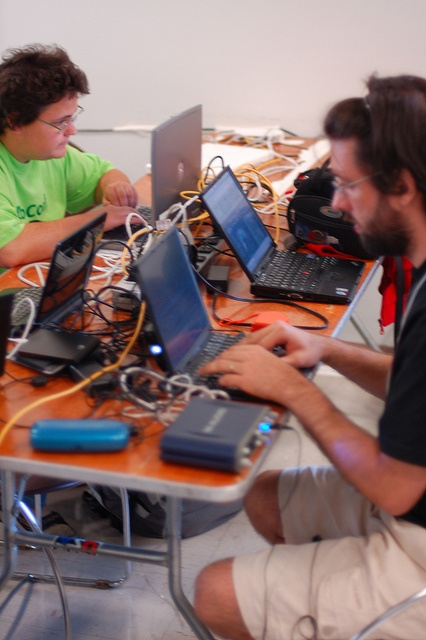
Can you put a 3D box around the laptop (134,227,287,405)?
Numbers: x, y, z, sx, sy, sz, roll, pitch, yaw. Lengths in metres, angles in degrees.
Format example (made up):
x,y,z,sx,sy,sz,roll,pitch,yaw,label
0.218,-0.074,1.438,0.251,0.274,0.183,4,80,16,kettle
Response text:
x,y,z,sx,sy,sz,roll,pitch,yaw,label
-0.033,-0.026,0.991,0.278,0.234,0.328,10,28,6,laptop

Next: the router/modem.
x,y,z,sx,sy,sz,roll,pitch,yaw,label
0.003,0.150,0.701,0.095,0.032,0.101,6,25,15,router/modem

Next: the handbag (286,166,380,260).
x,y,z,sx,sy,sz,roll,pitch,yaw,label
0.360,-0.389,1.791,0.447,0.271,0.318,11,29,18,handbag

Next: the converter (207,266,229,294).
x,y,z,sx,sy,sz,roll,pitch,yaw,label
0.018,-0.122,1.428,0.061,0.052,0.111,3,26,8,converter

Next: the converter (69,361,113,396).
x,y,z,sx,sy,sz,roll,pitch,yaw,label
-0.214,0.104,0.941,0.048,0.026,0.117,-16,25,-34,converter

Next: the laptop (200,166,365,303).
x,y,z,sx,sy,sz,roll,pitch,yaw,label
0.210,-0.214,1.590,0.552,0.377,0.547,9,26,16,laptop
